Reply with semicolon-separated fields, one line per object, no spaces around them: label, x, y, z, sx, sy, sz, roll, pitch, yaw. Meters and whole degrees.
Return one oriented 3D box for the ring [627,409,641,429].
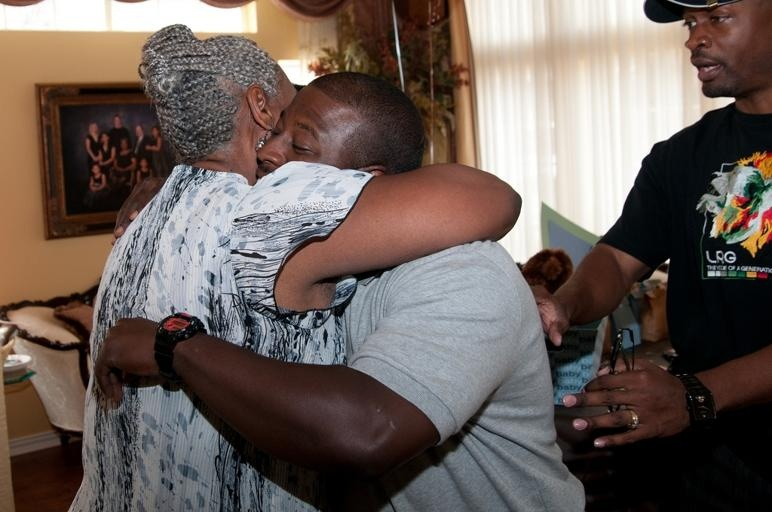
ring;0.697;0.462;1.795;0.019;0.053;0.039;-3;-6;-4
